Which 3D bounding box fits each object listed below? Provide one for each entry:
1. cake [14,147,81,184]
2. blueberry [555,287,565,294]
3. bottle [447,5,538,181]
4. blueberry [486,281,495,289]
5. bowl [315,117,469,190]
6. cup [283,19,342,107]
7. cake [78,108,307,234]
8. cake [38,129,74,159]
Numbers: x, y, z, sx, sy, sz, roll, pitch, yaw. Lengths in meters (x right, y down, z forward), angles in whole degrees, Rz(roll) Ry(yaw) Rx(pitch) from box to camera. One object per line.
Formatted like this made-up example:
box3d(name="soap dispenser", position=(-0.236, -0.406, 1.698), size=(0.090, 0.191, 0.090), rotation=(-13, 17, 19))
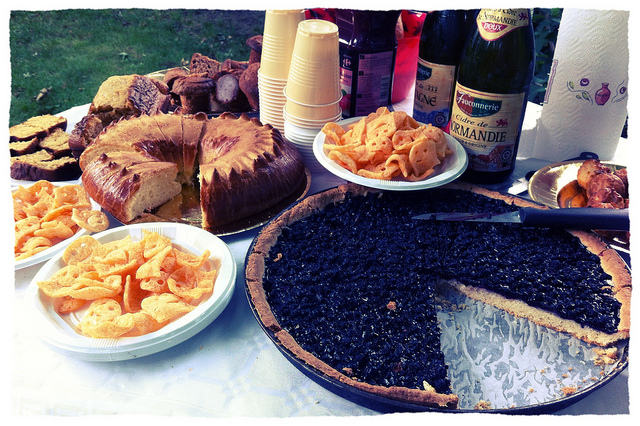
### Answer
box3d(name="cake", position=(-1.085, -0.179, 2.027), size=(0.150, 0.036, 0.149), rotation=(27, 36, 19))
box3d(name="blueberry", position=(0.774, 0.248, 1.639), size=(0.015, 0.007, 0.020), rotation=(2, 18, 7))
box3d(name="bottle", position=(0.632, -0.423, 1.865), size=(0.279, 0.615, 0.414), rotation=(12, 37, 11))
box3d(name="blueberry", position=(0.555, 0.235, 1.663), size=(0.021, 0.006, 0.016), rotation=(2, 35, 24))
box3d(name="bowl", position=(0.253, -0.194, 1.861), size=(0.555, 0.121, 0.257), rotation=(5, 36, 0))
box3d(name="cup", position=(-0.039, -0.611, 2.057), size=(0.270, 0.286, 0.297), rotation=(3, 36, -7))
box3d(name="cake", position=(-0.471, -0.199, 1.987), size=(0.712, 0.205, 0.517), rotation=(6, 37, 1))
box3d(name="cake", position=(-1.098, -0.287, 2.148), size=(0.132, 0.038, 0.127), rotation=(27, 49, 16))
